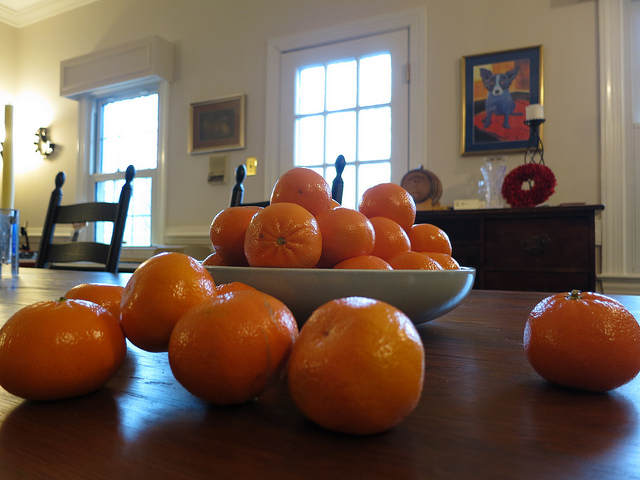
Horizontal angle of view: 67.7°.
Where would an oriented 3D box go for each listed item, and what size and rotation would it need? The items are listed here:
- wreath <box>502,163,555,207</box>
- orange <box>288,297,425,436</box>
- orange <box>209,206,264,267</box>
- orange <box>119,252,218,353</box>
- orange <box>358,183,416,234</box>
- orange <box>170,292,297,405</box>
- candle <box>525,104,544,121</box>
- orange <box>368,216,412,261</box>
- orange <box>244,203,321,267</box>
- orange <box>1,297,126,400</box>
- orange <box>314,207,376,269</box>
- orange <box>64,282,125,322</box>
[{"bbox_3d":[0.923,-0.243,2.124,0.214,0.188,0.071,2,3,31],"label":"wreath"},{"bbox_3d":[0.019,0.074,0.315,0.071,0.078,0.076,-16,20,2],"label":"orange"},{"bbox_3d":[-0.086,-0.011,0.520,0.053,0.066,0.058,2,7,8],"label":"orange"},{"bbox_3d":[-0.130,0.060,0.390,0.073,0.101,0.071,0,-15,30],"label":"orange"},{"bbox_3d":[0.077,-0.036,0.566,0.052,0.077,0.059,0,0,-2],"label":"orange"},{"bbox_3d":[-0.065,0.078,0.355,0.090,0.090,0.093,0,2,14],"label":"orange"},{"bbox_3d":[1.005,-0.582,2.247,0.078,0.092,0.085,3,4,23],"label":"candle"},{"bbox_3d":[0.072,-0.001,0.538,0.039,0.058,0.042,-1,-1,-22],"label":"orange"},{"bbox_3d":[-0.035,0.005,0.437,0.054,0.060,0.059,18,-11,1],"label":"orange"},{"bbox_3d":[-0.177,0.073,0.334,0.063,0.066,0.069,4,-4,-26],"label":"orange"},{"bbox_3d":[0.022,-0.005,0.522,0.052,0.070,0.060,7,44,-21],"label":"orange"},{"bbox_3d":[-0.211,0.059,0.444,0.062,0.040,0.067,4,1,-17],"label":"orange"}]
